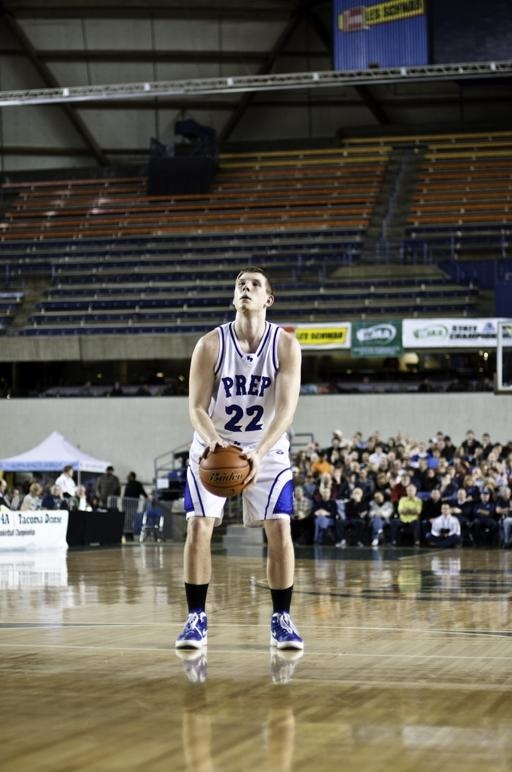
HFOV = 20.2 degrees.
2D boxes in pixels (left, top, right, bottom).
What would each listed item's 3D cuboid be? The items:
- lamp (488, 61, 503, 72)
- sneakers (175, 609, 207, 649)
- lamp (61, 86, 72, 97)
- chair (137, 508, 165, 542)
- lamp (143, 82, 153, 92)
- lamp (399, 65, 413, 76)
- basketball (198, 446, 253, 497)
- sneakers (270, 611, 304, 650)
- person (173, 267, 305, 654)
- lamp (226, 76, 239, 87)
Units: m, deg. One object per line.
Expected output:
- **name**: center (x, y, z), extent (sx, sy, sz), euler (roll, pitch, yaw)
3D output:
- **lamp**: center (3.174, -4.183, 18.906), extent (0.161, 0.111, 0.228), euler (1, -13, 3)
- **sneakers**: center (-0.301, 1.156, 6.872), extent (0.155, 0.169, 0.254), euler (-1, -6, -4)
- **lamp**: center (-2.582, -4.043, 19.745), extent (0.128, 0.087, 0.153), euler (1, -21, -1)
- **chair**: center (-1.311, 1.783, 18.482), extent (0.315, 0.484, 0.362), euler (2, -20, -4)
- **lamp**: center (-1.437, -4.001, 19.274), extent (0.106, 0.133, 0.113), euler (-1, -1, -2)
- **lamp**: center (1.978, -4.080, 18.741), extent (0.079, 0.088, 0.203), euler (18, 12, 10)
- **basketball**: center (-0.136, 0.427, 6.732), extent (0.219, 0.232, 0.236), euler (-8, -34, -2)
- **sneakers**: center (0.144, 1.154, 6.827), extent (0.129, 0.168, 0.245), euler (3, -8, -36)
- **person**: center (-0.082, 0.330, 6.968), extent (0.628, 1.852, 0.473), euler (-2, -6, 1)
- **lamp**: center (-0.302, -4.020, 19.015), extent (0.131, 0.150, 0.259), euler (-2, 0, 3)
